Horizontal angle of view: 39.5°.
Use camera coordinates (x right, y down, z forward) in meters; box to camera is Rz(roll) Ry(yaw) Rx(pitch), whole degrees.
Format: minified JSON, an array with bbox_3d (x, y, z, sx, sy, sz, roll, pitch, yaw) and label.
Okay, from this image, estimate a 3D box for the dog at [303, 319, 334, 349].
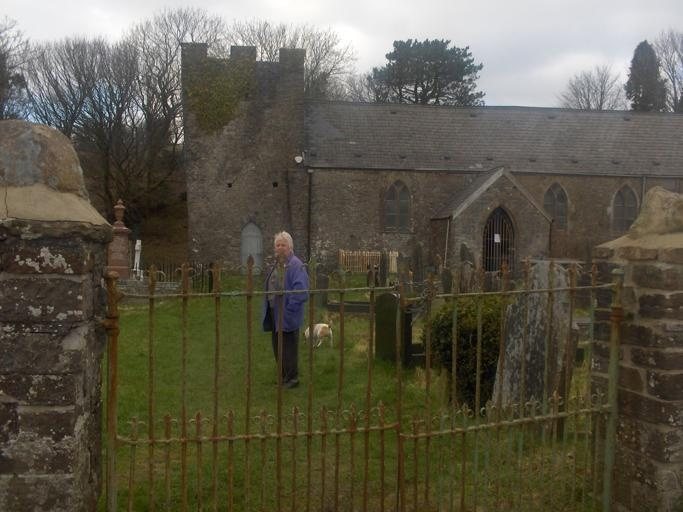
[{"bbox_3d":[-0.350,1.419,17.532,0.315,0.612,1.117,2,-11,-27],"label":"dog"}]
